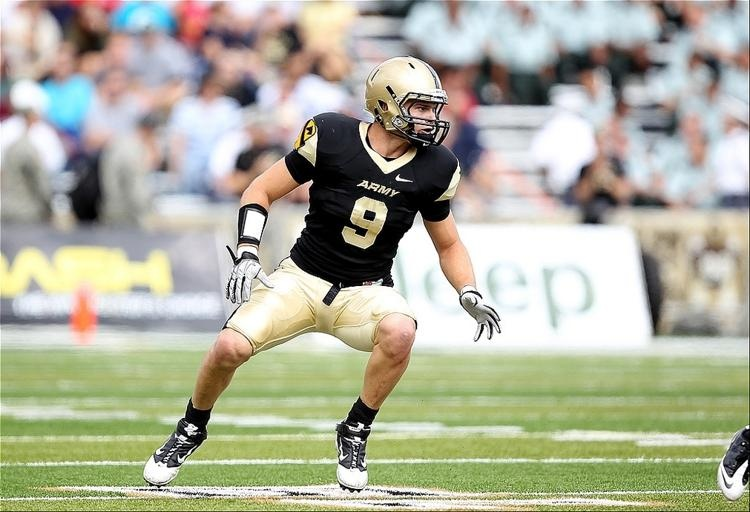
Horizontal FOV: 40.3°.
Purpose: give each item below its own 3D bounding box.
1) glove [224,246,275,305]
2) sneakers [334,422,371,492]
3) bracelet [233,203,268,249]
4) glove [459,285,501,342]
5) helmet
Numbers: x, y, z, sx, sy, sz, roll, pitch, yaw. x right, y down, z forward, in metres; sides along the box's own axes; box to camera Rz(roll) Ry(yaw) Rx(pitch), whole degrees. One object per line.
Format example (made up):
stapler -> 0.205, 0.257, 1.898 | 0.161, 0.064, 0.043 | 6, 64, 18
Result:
glove -> -0.774, 0.119, 6.416 | 0.319, 0.331, 0.095 | 9, -2, 10
sneakers -> -0.162, 1.250, 6.409 | 0.172, 0.447, 0.204 | 3, -31, -18
bracelet -> -0.778, -0.198, 6.382 | 0.184, 0.258, 0.137 | 5, 10, 6
glove -> 0.745, 0.377, 6.610 | 0.399, 0.118, 0.263 | 35, 23, -50
helmet -> 0.274, -0.997, 6.600 | 0.622, 0.511, 0.461 | 19, 13, 29
